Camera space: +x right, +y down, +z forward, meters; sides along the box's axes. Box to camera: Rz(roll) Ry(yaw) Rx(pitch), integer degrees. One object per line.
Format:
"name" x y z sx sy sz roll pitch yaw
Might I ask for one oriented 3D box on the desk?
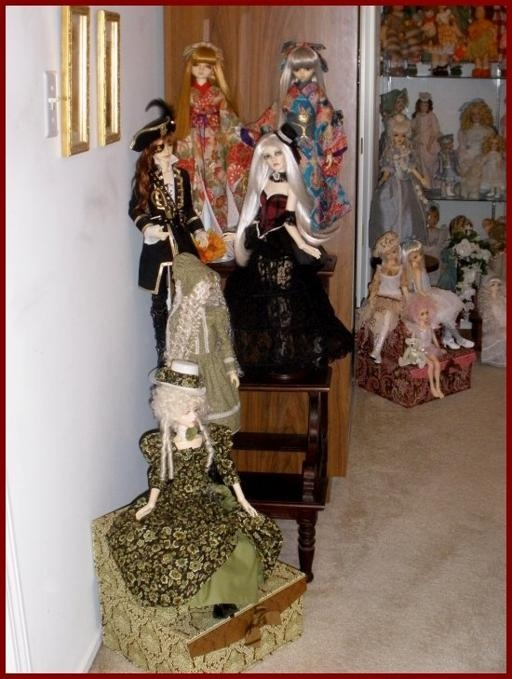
"desk" 0.197 0.571 3.315 0.701 0.831 0.958 -1 10 6

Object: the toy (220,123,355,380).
"toy" 0.104 -0.404 2.907 0.501 1.133 0.254 0 14 0
